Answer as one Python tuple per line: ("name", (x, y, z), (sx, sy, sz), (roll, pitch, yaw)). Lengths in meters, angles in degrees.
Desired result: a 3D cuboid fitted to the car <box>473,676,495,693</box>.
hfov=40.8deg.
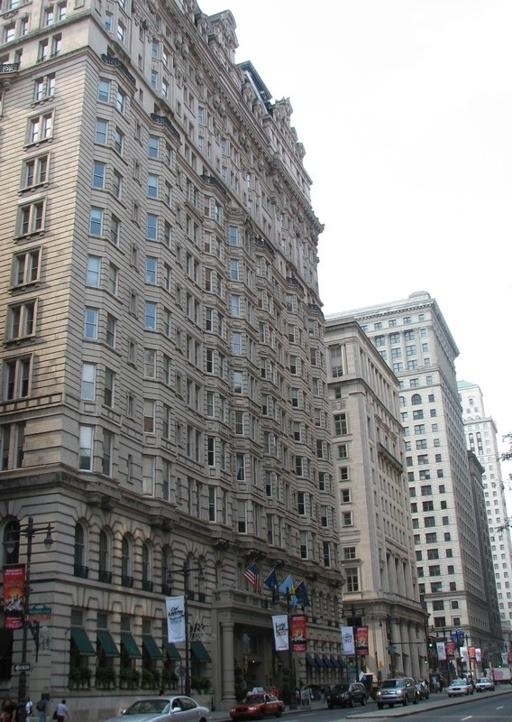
("car", (23.666, 33.719, 71.608), (1.685, 1.121, 7.246), (-9, -26, 12))
